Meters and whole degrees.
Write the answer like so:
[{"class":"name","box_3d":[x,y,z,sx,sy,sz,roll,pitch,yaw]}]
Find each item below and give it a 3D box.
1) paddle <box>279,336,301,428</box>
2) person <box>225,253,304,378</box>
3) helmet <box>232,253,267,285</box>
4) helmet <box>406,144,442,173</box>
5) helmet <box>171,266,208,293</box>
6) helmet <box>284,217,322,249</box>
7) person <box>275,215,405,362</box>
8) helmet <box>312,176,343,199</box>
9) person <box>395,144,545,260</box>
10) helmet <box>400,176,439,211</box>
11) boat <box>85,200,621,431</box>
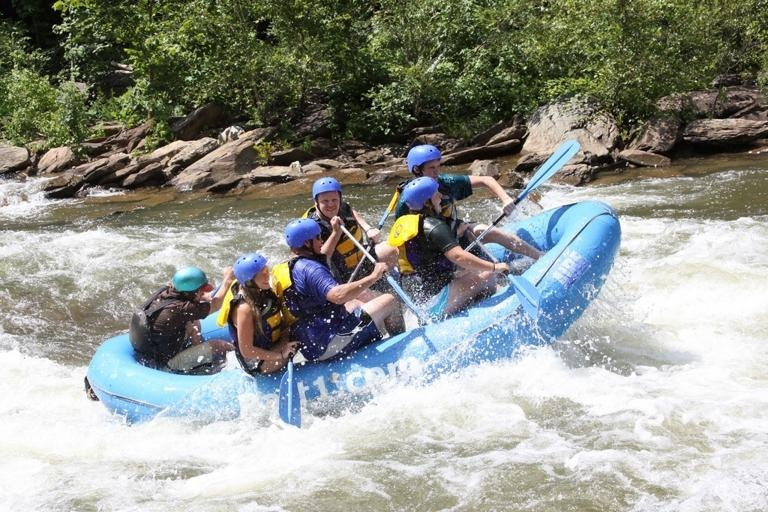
[{"class":"paddle","box_3d":[-1.148,1.561,10.056,0.301,0.047,1.170,1,45,-6]},{"class":"person","box_3d":[-1.417,0.733,9.901,0.836,1.491,0.648,-7,42,8]},{"class":"helmet","box_3d":[-1.634,0.129,9.734,0.403,0.296,0.304,14,-37,-43]},{"class":"helmet","box_3d":[0.475,-1.324,10.981,0.461,0.346,0.352,-34,-9,30]},{"class":"helmet","box_3d":[-2.489,0.328,10.548,0.397,0.202,0.268,-14,47,-1]},{"class":"helmet","box_3d":[-1.040,-0.269,9.872,0.427,0.315,0.309,22,-20,-33]},{"class":"person","box_3d":[-0.541,0.463,10.154,1.133,1.560,1.063,-30,29,-12]},{"class":"helmet","box_3d":[-0.765,-0.870,10.726,0.283,0.376,0.283,-2,56,-13]},{"class":"person","box_3d":[1.081,-0.892,11.053,2.172,1.307,1.146,13,47,25]},{"class":"helmet","box_3d":[0.409,-0.808,10.341,0.348,0.449,0.338,14,16,-41]},{"class":"boat","box_3d":[-0.193,1.099,10.498,5.655,1.028,3.069,-20,9,1]}]
